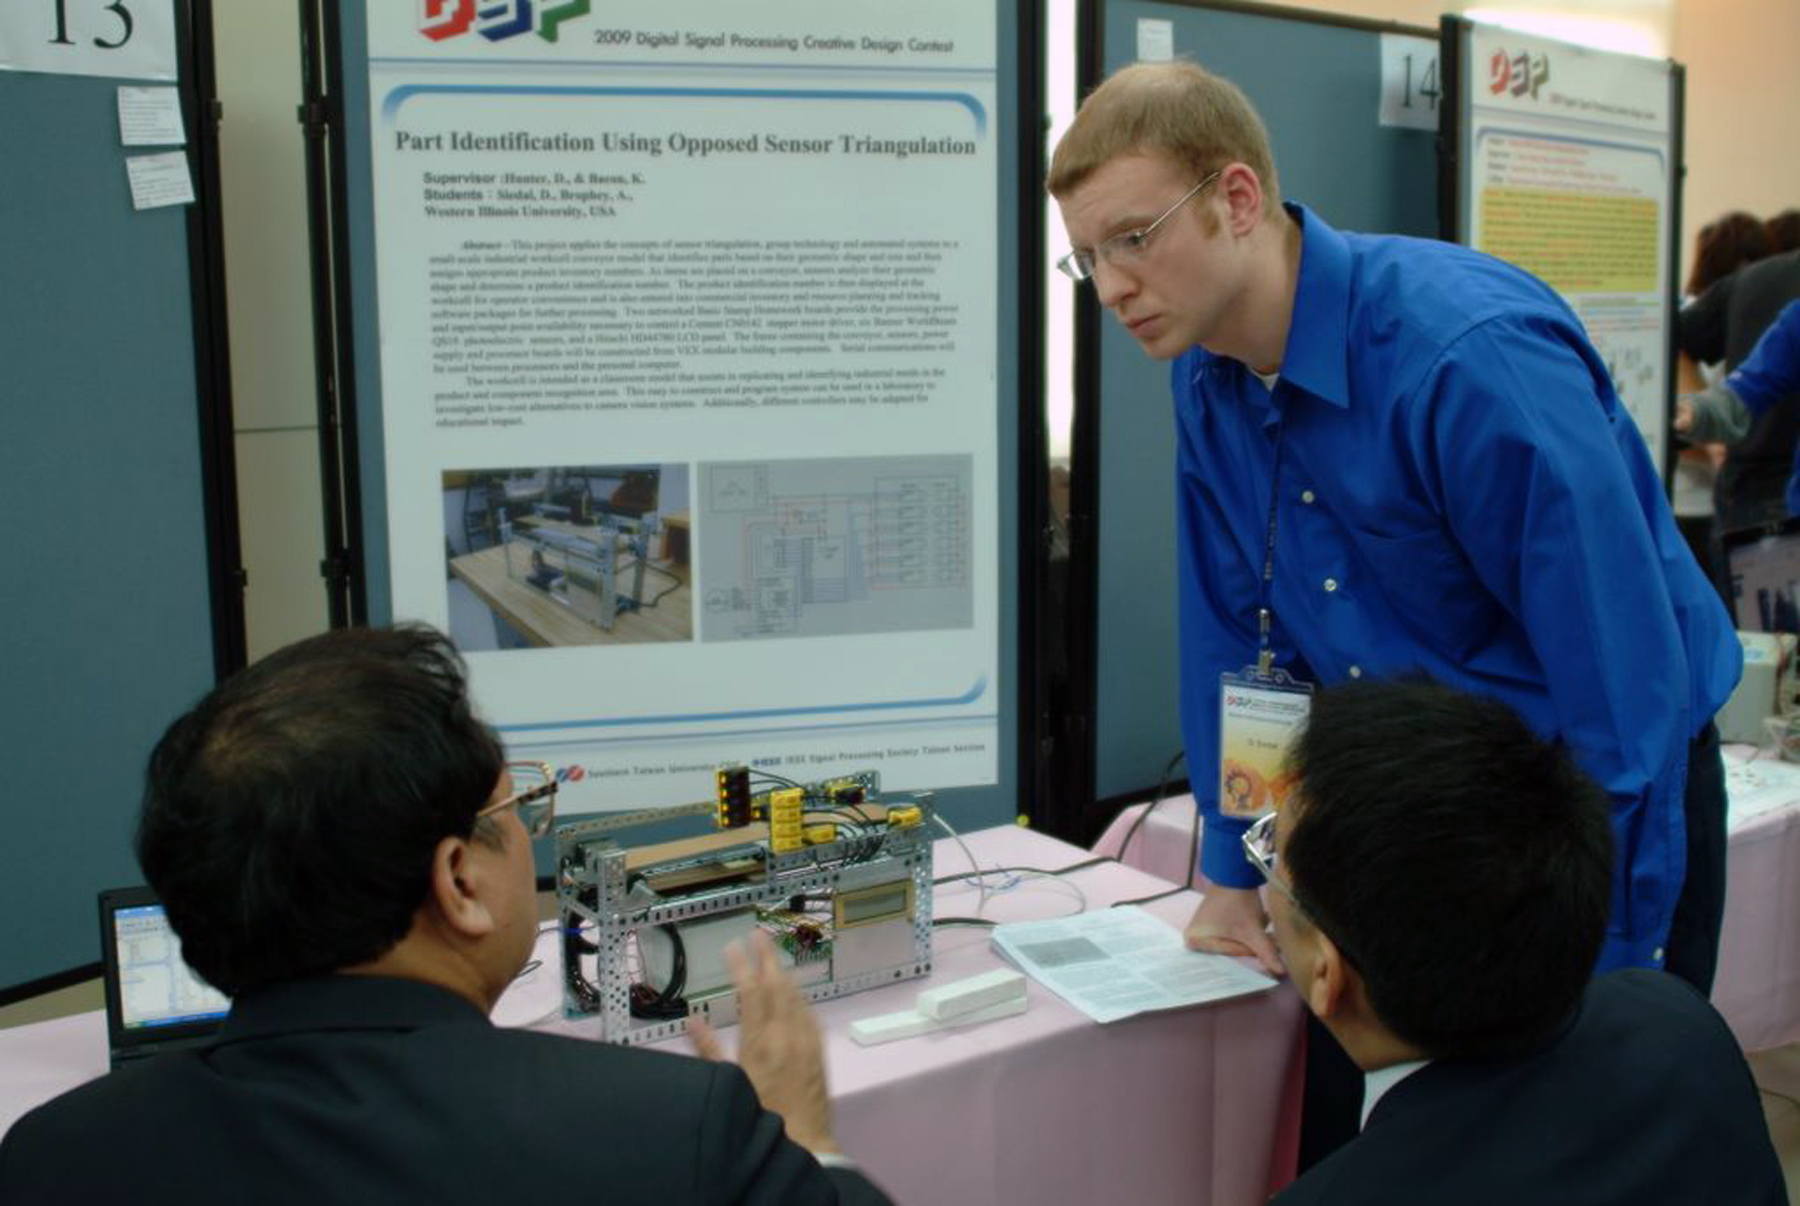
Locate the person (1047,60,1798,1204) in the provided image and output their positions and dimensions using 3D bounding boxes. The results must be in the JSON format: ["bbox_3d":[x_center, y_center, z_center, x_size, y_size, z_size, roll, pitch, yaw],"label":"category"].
[{"bbox_3d":[0.812,-0.121,2.383,0.956,1.651,0.433,-3,7,32],"label":"person"}]

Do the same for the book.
[{"bbox_3d":[0.412,0.638,2.475,0.281,0.037,0.315,-6,17,-21],"label":"book"}]

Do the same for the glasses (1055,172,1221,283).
[{"bbox_3d":[0.416,-0.606,2.376,0.171,0.045,0.164,-41,10,-18],"label":"glasses"}]
